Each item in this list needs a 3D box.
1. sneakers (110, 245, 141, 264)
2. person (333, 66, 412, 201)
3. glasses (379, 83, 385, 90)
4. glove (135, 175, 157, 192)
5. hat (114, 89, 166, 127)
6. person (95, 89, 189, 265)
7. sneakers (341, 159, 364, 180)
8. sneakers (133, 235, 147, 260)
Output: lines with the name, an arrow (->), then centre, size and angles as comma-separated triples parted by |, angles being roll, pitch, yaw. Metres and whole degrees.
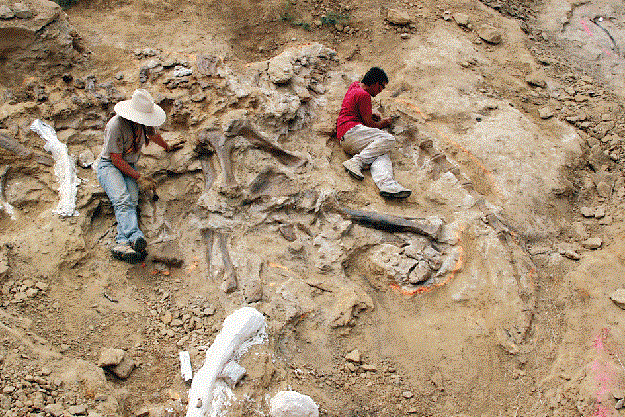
sneakers -> -2.093, 0.509, 13.053 | 0.344, 0.178, 0.177 | 24, 9, 9
person -> 0.721, -0.965, 14.284 | 0.808, 0.654, 1.643 | 1, 73, -3
glasses -> 0.857, -1.513, 14.168 | 0.047, 0.070, 0.021 | -6, 57, 8
glove -> -1.936, -0.302, 13.468 | 0.192, 0.070, 0.158 | 28, 64, -42
hat -> -1.929, -1.219, 13.334 | 0.576, 0.273, 0.604 | 13, 18, 1
person -> -2.128, -0.716, 13.558 | 0.712, 1.450, 2.963 | 1, 27, -6
sneakers -> 0.512, -0.487, 14.085 | 0.309, 0.141, 0.192 | 32, 61, 9
sneakers -> -1.938, 0.428, 13.081 | 0.117, 0.306, 0.121 | -9, 27, -23
